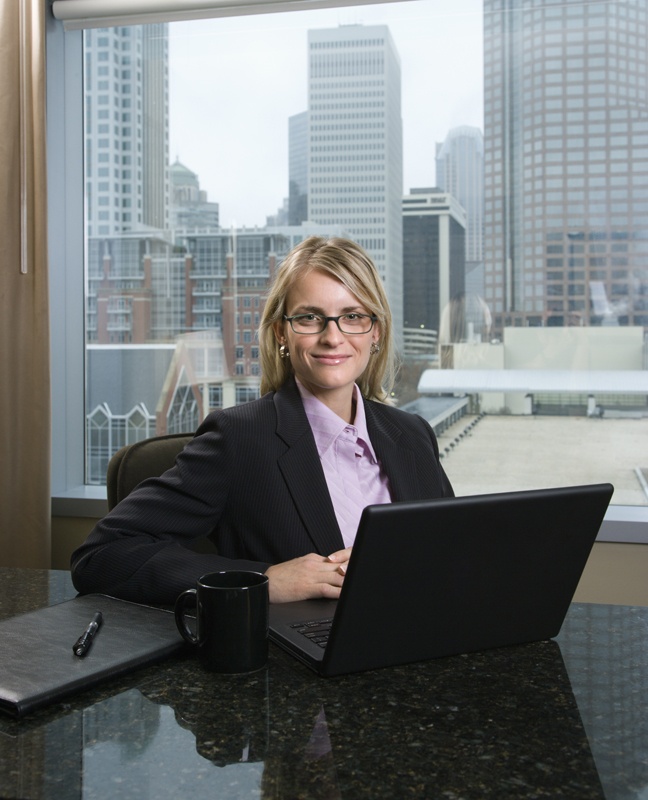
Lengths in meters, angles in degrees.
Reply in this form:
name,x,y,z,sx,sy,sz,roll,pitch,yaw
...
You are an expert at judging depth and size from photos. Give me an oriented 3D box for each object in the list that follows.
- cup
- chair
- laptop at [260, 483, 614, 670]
name,x,y,z,sx,sy,sz,roll,pitch,yaw
cup,-0.100,0.242,0.862,0.112,0.093,0.073,-2,3,-25
chair,-0.348,0.181,1.645,0.198,0.281,0.223,-3,-29,-8
laptop,0.153,0.190,0.819,0.316,0.206,0.100,1,3,-25
